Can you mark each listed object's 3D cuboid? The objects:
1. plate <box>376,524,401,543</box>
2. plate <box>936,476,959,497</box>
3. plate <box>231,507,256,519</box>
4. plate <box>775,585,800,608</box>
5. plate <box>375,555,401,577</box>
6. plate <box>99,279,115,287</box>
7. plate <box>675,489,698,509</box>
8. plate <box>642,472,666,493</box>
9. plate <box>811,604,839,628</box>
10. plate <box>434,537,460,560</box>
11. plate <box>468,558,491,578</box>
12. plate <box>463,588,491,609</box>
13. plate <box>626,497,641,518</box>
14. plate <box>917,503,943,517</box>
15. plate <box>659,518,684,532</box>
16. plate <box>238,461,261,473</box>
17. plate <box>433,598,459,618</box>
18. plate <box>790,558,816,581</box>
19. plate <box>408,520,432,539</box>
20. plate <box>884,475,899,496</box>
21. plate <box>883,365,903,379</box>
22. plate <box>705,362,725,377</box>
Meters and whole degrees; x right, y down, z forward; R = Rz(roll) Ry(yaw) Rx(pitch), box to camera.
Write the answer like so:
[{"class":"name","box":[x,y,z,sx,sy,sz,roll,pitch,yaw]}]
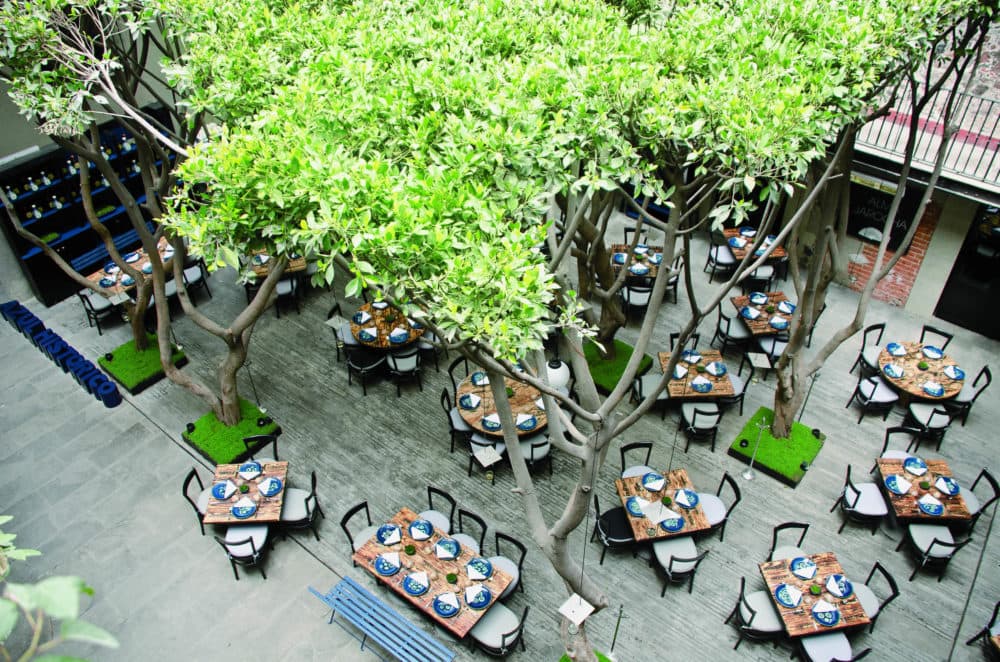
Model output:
[{"class":"plate","box":[-1.885,3.429,11.312,0.434,0.120,0.365,-5,44,2]},{"class":"plate","box":[7.971,2.770,11.966,0.384,0.078,0.381,19,49,24]},{"class":"plate","box":[-4.443,3.148,11.648,0.420,0.078,0.267,-5,44,2]},{"class":"plate","box":[4.593,4.247,10.731,0.365,0.085,0.374,23,51,27]},{"class":"plate","box":[-1.829,3.839,10.953,0.393,0.116,0.325,-8,44,-2]},{"class":"plate","box":[-9.098,-1.120,15.508,0.217,0.054,0.216,31,45,24]},{"class":"plate","box":[3.296,2.982,11.857,0.410,0.184,0.417,13,47,19]},{"class":"plate","box":[2.753,2.714,11.992,0.419,0.113,0.336,0,44,6]},{"class":"plate","box":[5.096,4.455,10.521,0.387,0.069,0.404,26,52,29]},{"class":"plate","box":[-0.873,3.617,11.123,0.405,0.116,0.362,-8,44,-2]},{"class":"plate","box":[-0.328,3.875,10.884,0.394,0.083,0.325,-4,44,2]},{"class":"plate","box":[-0.345,4.226,10.603,0.434,0.059,0.383,-3,44,3]},{"class":"plate","box":[2.338,3.059,11.710,0.260,0.165,0.344,4,45,10]},{"class":"plate","box":[7.503,3.103,11.685,0.453,0.083,0.293,1,45,8]},{"class":"plate","box":[2.928,3.327,11.458,0.408,0.081,0.220,-7,44,-1]},{"class":"plate","box":[-4.542,2.480,12.219,0.429,0.093,0.269,0,44,6]},{"class":"plate","box":[-0.859,4.369,10.474,0.419,0.098,0.232,12,47,18]},{"class":"plate","box":[4.949,3.895,10.991,0.392,0.114,0.353,6,45,13]},{"class":"plate","box":[-1.343,3.380,11.355,0.398,0.105,0.355,-2,44,4]},{"class":"plate","box":[7.033,2.726,11.993,0.272,0.035,0.405,8,46,14]},{"class":"plate","box":[7.970,0.813,13.630,0.296,0.074,0.281,-32,55,-27]},{"class":"plate","box":[4.398,0.776,13.721,0.313,0.098,0.322,23,56,16]}]
